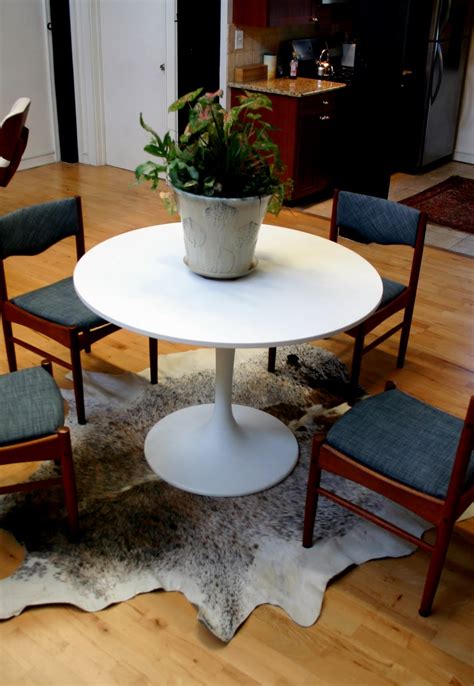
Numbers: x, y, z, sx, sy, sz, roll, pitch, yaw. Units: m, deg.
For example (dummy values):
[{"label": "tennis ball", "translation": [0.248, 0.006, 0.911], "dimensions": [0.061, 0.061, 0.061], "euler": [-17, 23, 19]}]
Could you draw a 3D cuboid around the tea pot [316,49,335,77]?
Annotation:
[{"label": "tea pot", "translation": [0.785, -2.523, 4.816], "dimensions": [0.156, 0.239, 0.381], "euler": [6, 27, 5]}]

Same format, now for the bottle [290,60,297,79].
[{"label": "bottle", "translation": [0.473, -2.326, 4.552], "dimensions": [0.073, 0.137, 0.190], "euler": [5, 27, 3]}]

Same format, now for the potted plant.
[{"label": "potted plant", "translation": [-0.054, -0.392, 1.395], "dimensions": [0.367, 0.484, 0.283], "euler": [5, 27, 4]}]

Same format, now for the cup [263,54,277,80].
[{"label": "cup", "translation": [0.272, -2.347, 4.560], "dimensions": [0.112, 0.187, 0.110], "euler": [2, 27, -1]}]
